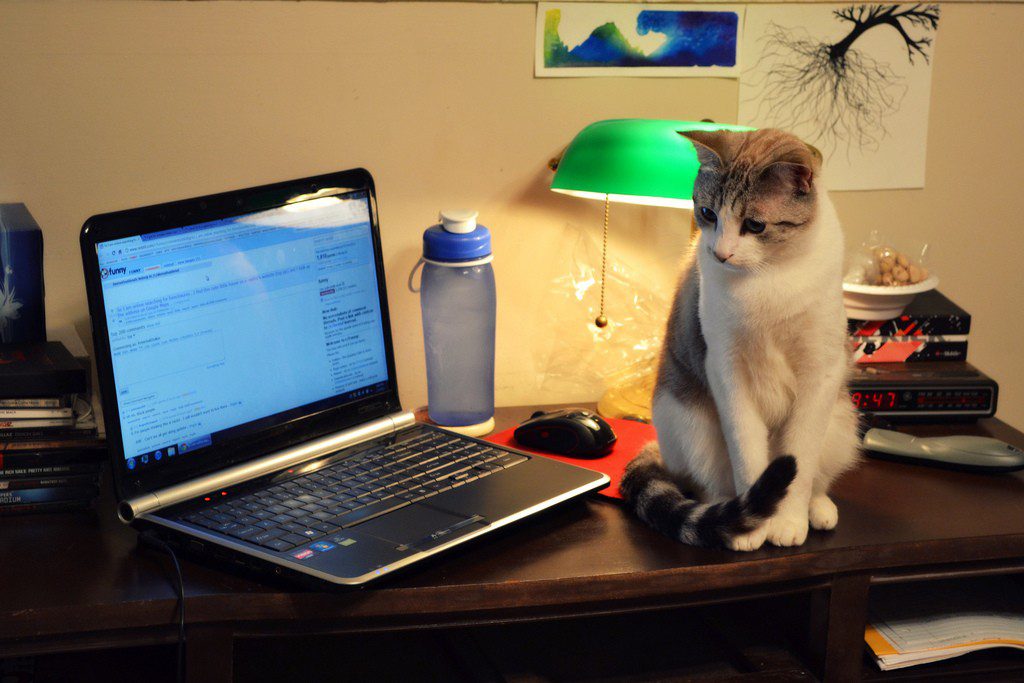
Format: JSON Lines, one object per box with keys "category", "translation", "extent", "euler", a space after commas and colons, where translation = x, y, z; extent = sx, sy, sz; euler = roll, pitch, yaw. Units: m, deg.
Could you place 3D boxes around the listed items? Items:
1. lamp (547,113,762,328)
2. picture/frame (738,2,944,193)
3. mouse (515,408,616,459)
{"category": "lamp", "translation": [0.298, -0.179, 1.468], "extent": [0.410, 0.331, 0.404], "euler": [14, 12, 21]}
{"category": "picture/frame", "translation": [0.577, -0.456, 1.502], "extent": [0.504, 0.448, 0.010], "euler": [0, 7, -8]}
{"category": "mouse", "translation": [0.087, 0.139, 1.310], "extent": [0.131, 0.042, 0.072], "euler": [6, 9, 29]}
